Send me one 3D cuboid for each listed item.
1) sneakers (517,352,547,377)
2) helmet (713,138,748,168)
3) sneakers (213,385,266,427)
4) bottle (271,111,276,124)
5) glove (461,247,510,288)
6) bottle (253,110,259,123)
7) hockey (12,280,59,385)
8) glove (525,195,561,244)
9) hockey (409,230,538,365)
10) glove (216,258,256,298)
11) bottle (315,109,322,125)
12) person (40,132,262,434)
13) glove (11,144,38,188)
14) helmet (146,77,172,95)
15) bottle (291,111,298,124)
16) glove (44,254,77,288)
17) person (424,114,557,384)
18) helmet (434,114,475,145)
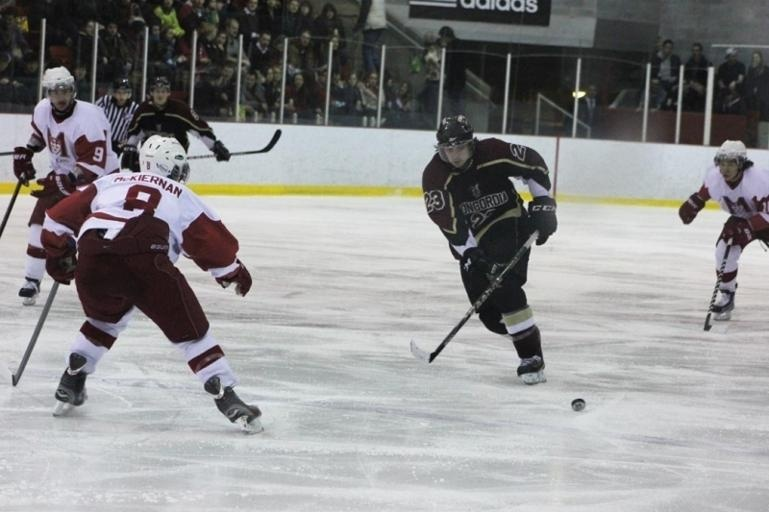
[{"bbox_3d":[0.959,0.686,6.953,0.246,0.149,0.111,-6,14,-35],"label":"sneakers"},{"bbox_3d":[2.701,-0.813,8.513,0.327,0.215,0.242,10,-8,-40],"label":"helmet"},{"bbox_3d":[-0.813,0.849,6.118,0.285,0.171,0.120,41,-11,0],"label":"sneakers"},{"bbox_3d":[-1.403,-1.732,13.713,0.064,0.129,0.039,-1,13,-18],"label":"bottle"},{"bbox_3d":[0.628,0.073,6.937,0.291,0.265,0.250,3,11,5],"label":"glove"},{"bbox_3d":[-1.608,-1.712,13.547,0.065,0.124,0.131,2,11,-4],"label":"bottle"},{"bbox_3d":[-2.281,0.523,7.121,0.084,0.696,0.110,33,8,-6],"label":"hockey"},{"bbox_3d":[1.018,-0.242,7.016,0.243,0.271,0.104,2,4,2],"label":"glove"},{"bbox_3d":[0.623,0.322,7.532,0.271,1.371,0.151,53,16,12],"label":"hockey"},{"bbox_3d":[-0.822,0.138,6.192,0.238,0.210,0.092,21,40,2],"label":"glove"},{"bbox_3d":[-0.847,-1.759,13.919,0.106,0.187,0.070,-7,15,-38],"label":"bottle"},{"bbox_3d":[-1.320,0.148,6.130,1.293,1.586,0.575,2,12,-2],"label":"person"},{"bbox_3d":[-2.684,-0.682,8.249,0.265,0.265,0.122,2,14,14],"label":"glove"},{"bbox_3d":[-1.955,-1.466,9.476,0.137,0.122,0.202,2,10,-2],"label":"helmet"},{"bbox_3d":[-1.141,-1.733,13.791,0.085,0.130,0.051,-3,13,-23],"label":"bottle"},{"bbox_3d":[-1.874,0.086,6.304,0.216,0.168,0.078,0,13,-8],"label":"glove"},{"bbox_3d":[0.649,-0.047,6.989,0.857,1.644,0.508,3,12,5],"label":"person"},{"bbox_3d":[0.435,-0.779,6.891,0.227,0.203,0.234,-5,-9,7],"label":"helmet"}]
